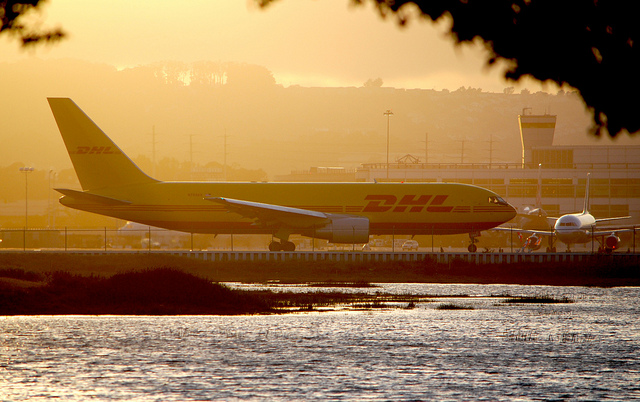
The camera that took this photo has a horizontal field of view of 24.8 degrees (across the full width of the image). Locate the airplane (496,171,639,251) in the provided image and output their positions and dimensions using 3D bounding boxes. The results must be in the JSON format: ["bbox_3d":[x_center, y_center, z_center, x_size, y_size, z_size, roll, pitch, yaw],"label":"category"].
[{"bbox_3d":[21.051,0.471,126.361,10.655,7.406,29.986,-2,-2,9],"label":"airplane"}]
